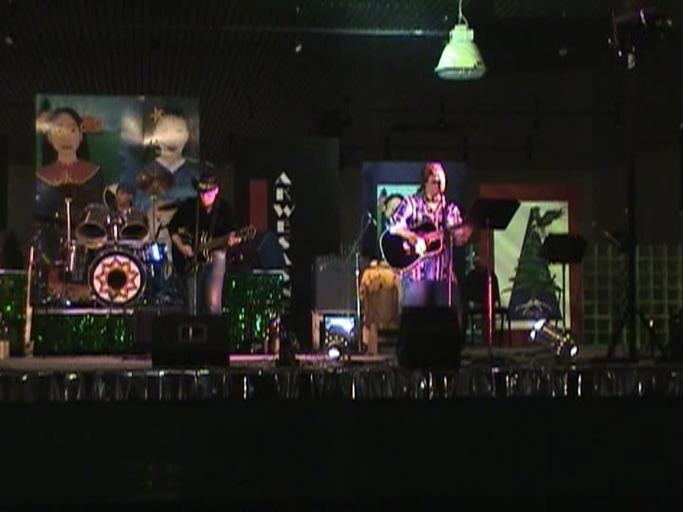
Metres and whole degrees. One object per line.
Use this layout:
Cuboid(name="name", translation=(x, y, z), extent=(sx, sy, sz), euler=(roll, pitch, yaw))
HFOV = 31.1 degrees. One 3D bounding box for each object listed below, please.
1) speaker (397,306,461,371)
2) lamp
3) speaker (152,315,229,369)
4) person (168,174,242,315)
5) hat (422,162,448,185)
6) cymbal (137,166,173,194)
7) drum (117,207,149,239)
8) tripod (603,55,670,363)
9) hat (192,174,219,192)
Cuboid(name="speaker", translation=(0.585, 0.540, 8.235), extent=(0.371, 0.424, 0.394), euler=(0, -1, 6))
Cuboid(name="lamp", translation=(0.842, -1.491, 8.649), extent=(0.414, 0.763, 0.449), euler=(-1, 0, -3))
Cuboid(name="speaker", translation=(-0.994, 0.564, 8.103), extent=(0.527, 0.415, 0.306), euler=(1, 0, -4))
Cuboid(name="person", translation=(-0.987, -0.078, 8.818), extent=(0.545, 0.975, 0.161), euler=(-2, -6, 24))
Cuboid(name="hat", translation=(0.676, -0.585, 8.775), extent=(0.103, 0.166, 0.152), euler=(2, -8, -6))
Cuboid(name="cymbal", translation=(-1.356, -0.548, 8.967), extent=(0.187, 0.217, 0.047), euler=(1, 4, 15))
Cuboid(name="drum", translation=(-1.520, -0.230, 9.004), extent=(0.210, 0.238, 0.169), euler=(-1, -4, 1))
Cuboid(name="tripod", translation=(2.063, -0.343, 8.656), extent=(0.360, 2.128, 0.259), euler=(4, -7, -31))
Cuboid(name="hat", translation=(-0.970, -0.514, 8.797), extent=(0.117, 0.082, 0.119), euler=(-2, 4, -38))
